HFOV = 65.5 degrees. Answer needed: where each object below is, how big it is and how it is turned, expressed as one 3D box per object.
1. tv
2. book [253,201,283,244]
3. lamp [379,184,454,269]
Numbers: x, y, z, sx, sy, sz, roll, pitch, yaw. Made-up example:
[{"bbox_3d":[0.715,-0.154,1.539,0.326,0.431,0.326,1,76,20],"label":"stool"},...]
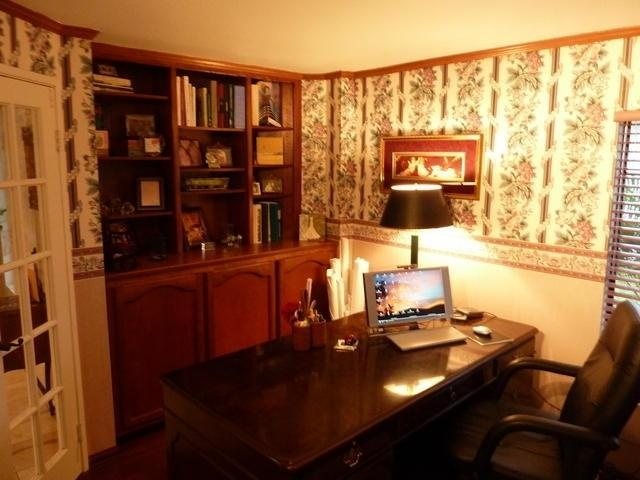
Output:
[{"bbox_3d":[0.605,0.342,3.128,0.049,0.321,0.540,1,-8,-36],"label":"tv"},{"bbox_3d":[-0.504,-0.205,4.447,0.272,0.445,0.473,-2,8,-13],"label":"book"},{"bbox_3d":[0.660,-0.080,3.556,0.405,0.588,0.676,9,15,40],"label":"lamp"}]
